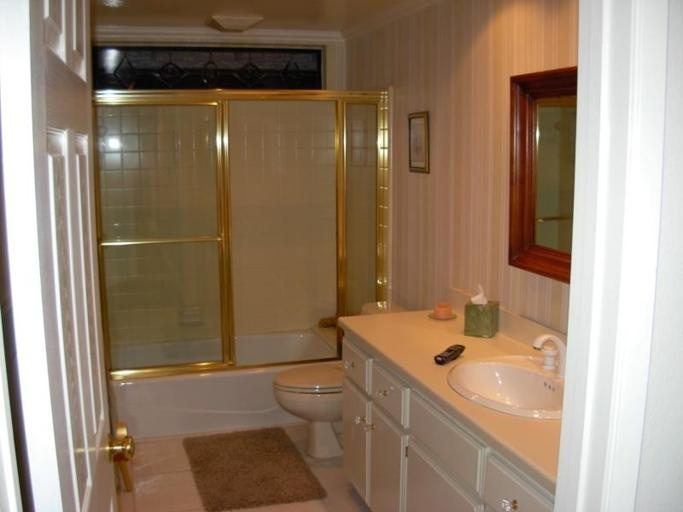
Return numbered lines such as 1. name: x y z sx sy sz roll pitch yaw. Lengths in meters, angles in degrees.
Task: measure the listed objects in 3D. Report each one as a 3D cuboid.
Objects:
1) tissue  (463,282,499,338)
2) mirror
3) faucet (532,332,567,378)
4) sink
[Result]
1. tissue : 0.643 0.235 2.560 0.095 0.251 0.136 0 12 -18
2. mirror: 0.826 -0.339 2.319 0.086 0.834 0.404 -7 10 -17
3. faucet: 0.759 0.340 2.012 0.091 0.152 0.224 2 12 30
4. sink: 0.608 0.456 1.998 0.402 0.141 0.447 1 11 -12
